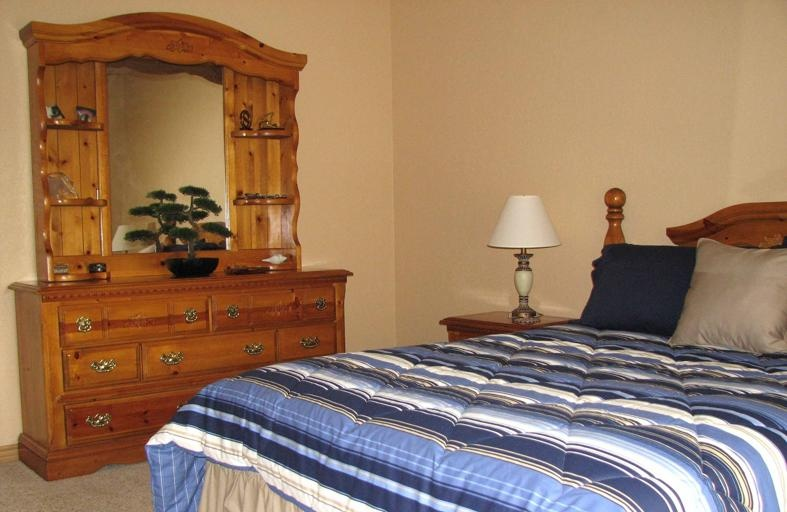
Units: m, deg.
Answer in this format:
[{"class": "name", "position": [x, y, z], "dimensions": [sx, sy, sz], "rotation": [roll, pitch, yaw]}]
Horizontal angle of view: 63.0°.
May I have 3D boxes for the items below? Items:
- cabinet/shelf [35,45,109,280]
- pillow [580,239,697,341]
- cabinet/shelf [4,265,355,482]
[{"class": "cabinet/shelf", "position": [-2.075, -0.582, 4.096], "dimensions": [0.490, 1.457, 0.481], "rotation": [-3, 9, -19]}, {"class": "pillow", "position": [1.372, 0.179, 3.508], "dimensions": [0.195, 0.471, 0.649], "rotation": [30, -15, -39]}, {"class": "cabinet/shelf", "position": [-1.340, 0.666, 3.589], "dimensions": [1.673, 0.674, 0.521], "rotation": [-3, 6, -34]}]
